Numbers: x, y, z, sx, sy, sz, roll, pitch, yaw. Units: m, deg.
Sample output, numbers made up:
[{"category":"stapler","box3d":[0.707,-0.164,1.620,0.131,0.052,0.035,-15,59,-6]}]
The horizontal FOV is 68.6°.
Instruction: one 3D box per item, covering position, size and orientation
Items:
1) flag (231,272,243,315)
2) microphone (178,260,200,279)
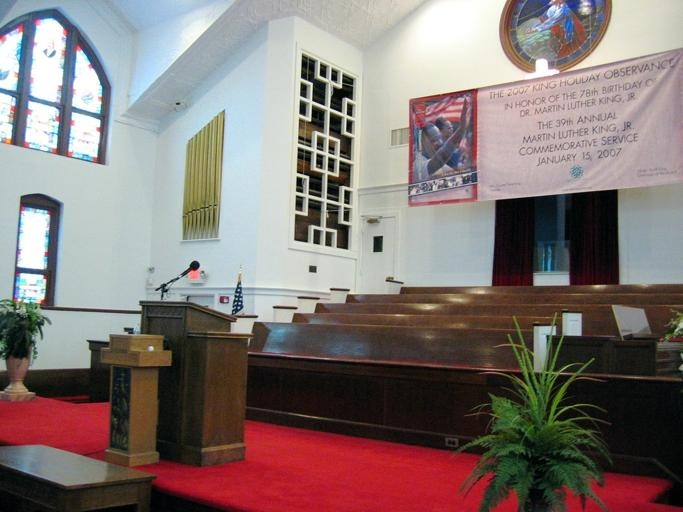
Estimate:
[{"category":"flag","box3d":[-1.682,0.610,8.214,0.185,0.720,0.673,5,-8,-11]},{"category":"microphone","box3d":[-2.590,0.242,8.526,0.120,0.115,0.426,20,35,23]}]
